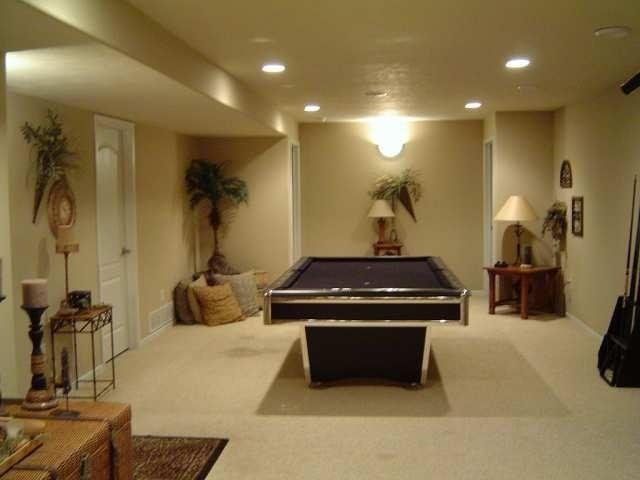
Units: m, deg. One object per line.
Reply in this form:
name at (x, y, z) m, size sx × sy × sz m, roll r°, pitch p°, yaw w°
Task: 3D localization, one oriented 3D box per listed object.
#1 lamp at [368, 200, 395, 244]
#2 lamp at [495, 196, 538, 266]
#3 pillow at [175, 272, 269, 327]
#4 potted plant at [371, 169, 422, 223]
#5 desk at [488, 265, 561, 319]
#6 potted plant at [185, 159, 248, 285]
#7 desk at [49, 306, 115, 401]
lamp at (0.961, -0.298, 7.231) m, size 0.384 × 0.695 × 0.451 m, roll 0°, pitch 8°, yaw 9°
lamp at (2.688, -0.131, 6.256) m, size 0.538 × 0.849 × 0.532 m, roll 7°, pitch -10°, yaw -22°
pillow at (-1.300, 0.766, 6.149) m, size 1.270 × 0.592 × 0.612 m, roll -3°, pitch 8°, yaw -19°
potted plant at (1.255, -0.779, 7.463) m, size 1.092 × 0.422 × 0.608 m, roll -8°, pitch 32°, yaw -38°
desk at (2.801, 0.704, 6.418) m, size 0.911 × 0.623 × 0.929 m, roll 0°, pitch 2°, yaw 18°
potted plant at (-1.435, -0.333, 6.422) m, size 0.706 × 1.651 × 0.780 m, roll 0°, pitch 8°, yaw 8°
desk at (-2.013, 0.978, 3.956) m, size 0.457 × 0.712 × 0.445 m, roll -2°, pitch 1°, yaw -16°
